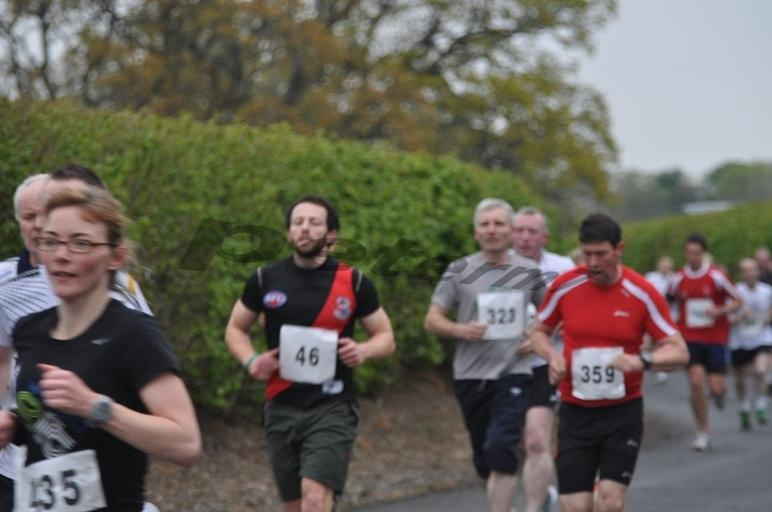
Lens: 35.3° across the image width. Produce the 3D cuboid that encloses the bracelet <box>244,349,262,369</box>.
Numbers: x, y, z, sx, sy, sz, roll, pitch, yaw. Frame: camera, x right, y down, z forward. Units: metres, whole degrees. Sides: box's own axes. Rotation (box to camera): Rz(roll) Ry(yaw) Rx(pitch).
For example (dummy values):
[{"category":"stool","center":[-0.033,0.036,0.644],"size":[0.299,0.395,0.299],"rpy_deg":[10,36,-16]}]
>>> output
[{"category":"bracelet","center":[-1.014,0.791,9.170],"size":[0.089,0.120,0.115],"rpy_deg":[19,-16,-14]}]
